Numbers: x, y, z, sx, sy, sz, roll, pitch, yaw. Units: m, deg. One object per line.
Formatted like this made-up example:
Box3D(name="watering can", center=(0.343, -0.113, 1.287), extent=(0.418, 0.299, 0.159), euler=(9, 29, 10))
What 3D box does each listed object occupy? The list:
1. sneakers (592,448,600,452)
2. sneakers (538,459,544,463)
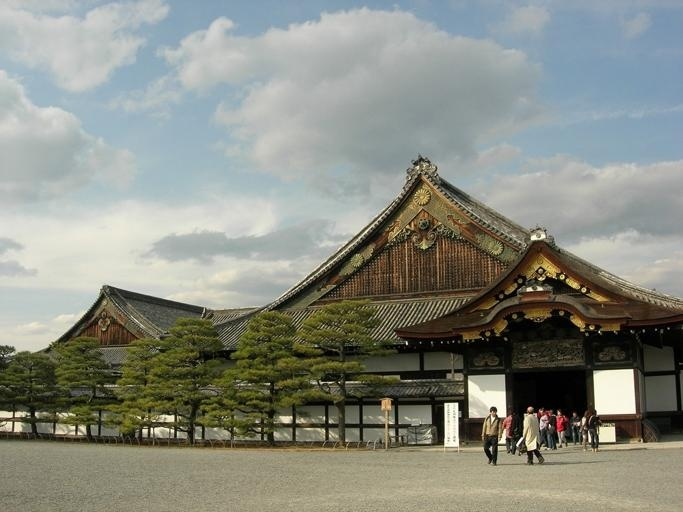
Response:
Box3D(name="sneakers", center=(10.797, 8.212, 41.008), extent=(0.137, 0.150, 0.394), euler=(-1, -17, 5))
Box3D(name="sneakers", center=(7.680, 7.874, 37.164), extent=(0.168, 0.193, 0.200), euler=(11, -17, -40))
